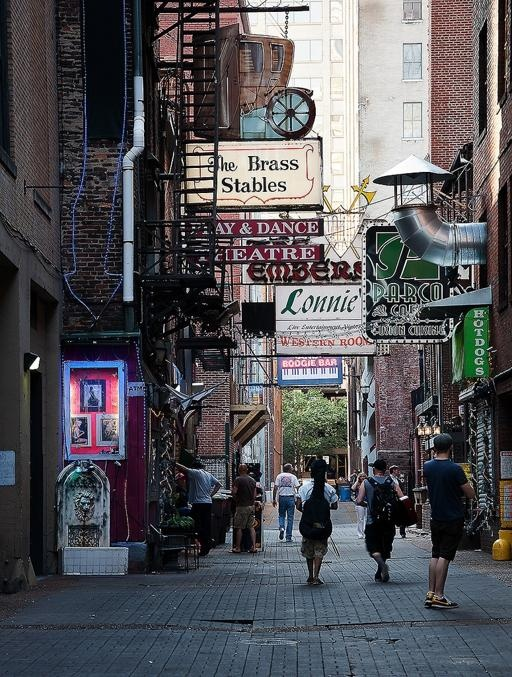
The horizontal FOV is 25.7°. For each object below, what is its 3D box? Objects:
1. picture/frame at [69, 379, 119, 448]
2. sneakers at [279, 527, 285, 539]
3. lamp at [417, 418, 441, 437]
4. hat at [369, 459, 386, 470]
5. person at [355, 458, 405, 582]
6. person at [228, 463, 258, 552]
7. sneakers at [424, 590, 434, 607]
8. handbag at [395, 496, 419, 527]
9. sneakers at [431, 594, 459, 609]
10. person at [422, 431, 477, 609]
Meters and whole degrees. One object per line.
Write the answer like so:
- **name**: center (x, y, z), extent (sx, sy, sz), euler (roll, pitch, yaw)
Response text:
- **picture/frame**: center (-2.289, 1.111, 15.959), extent (0.718, 1.342, 0.045), euler (0, -7, -2)
- **sneakers**: center (0.561, 4.287, 24.480), extent (0.096, 0.390, 0.134), euler (-1, -1, 3)
- **lamp**: center (4.424, 2.349, 28.920), extent (0.407, 0.342, 0.472), euler (0, -7, -2)
- **hat**: center (1.490, 1.533, 13.638), extent (0.142, 0.149, 0.235), euler (1, 15, -22)
- **person**: center (1.505, 2.151, 13.529), extent (0.443, 1.509, 0.520), euler (1, 7, 18)
- **person**: center (-0.212, 3.096, 20.388), extent (0.482, 1.590, 1.341), euler (-2, -7, -1)
- **sneakers**: center (1.591, 2.370, 10.280), extent (0.047, 0.087, 0.166), euler (4, 24, 7)
- **handbag**: center (1.746, 2.030, 13.164), extent (0.259, 0.340, 0.641), euler (-3, -7, 7)
- **sneakers**: center (1.700, 2.366, 10.132), extent (0.241, 0.137, 0.102), euler (2, 1, 2)
- **person**: center (1.759, 1.669, 10.363), extent (0.484, 1.586, 0.828), euler (-3, -6, 9)
